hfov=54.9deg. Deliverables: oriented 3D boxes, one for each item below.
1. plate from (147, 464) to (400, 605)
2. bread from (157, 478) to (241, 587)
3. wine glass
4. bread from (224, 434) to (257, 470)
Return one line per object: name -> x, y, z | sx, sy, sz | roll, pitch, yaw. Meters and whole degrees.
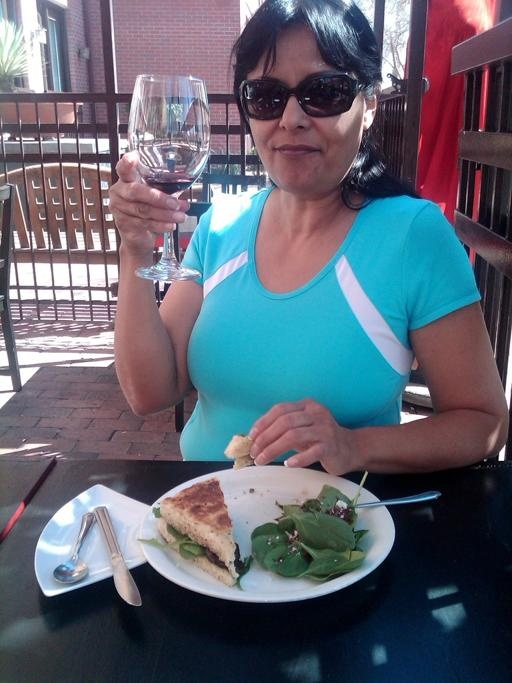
plate -> 0.022, 0.225, 0.749 | 0.304, 0.137, 0.244 | -10, 13, -39
bread -> -0.074, 0.273, 0.751 | 0.092, 0.102, 0.124 | 12, 17, 39
wine glass -> -0.169, -0.284, 0.994 | 0.149, 0.426, 0.154 | -1, 16, -9
bread -> -0.034, 0.198, 0.929 | 0.063, 0.066, 0.024 | 3, 2, -3
